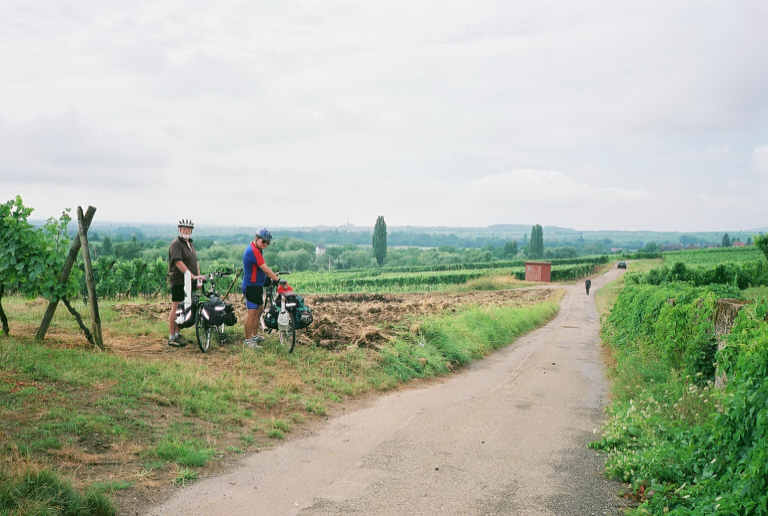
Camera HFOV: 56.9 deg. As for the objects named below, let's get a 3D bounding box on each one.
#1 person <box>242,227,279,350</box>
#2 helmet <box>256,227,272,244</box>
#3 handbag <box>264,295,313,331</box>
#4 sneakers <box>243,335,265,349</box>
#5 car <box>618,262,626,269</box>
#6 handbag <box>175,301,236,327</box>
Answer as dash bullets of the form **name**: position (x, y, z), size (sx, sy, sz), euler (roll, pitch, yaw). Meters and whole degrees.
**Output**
- **person**: position (-3.335, 0.801, 18.817), size (0.837, 3.118, 0.895), euler (0, 0, -12)
- **helmet**: position (-3.142, -0.585, 18.800), size (0.394, 0.398, 0.325), euler (13, 16, 29)
- **handbag**: position (-2.526, 1.421, 19.204), size (0.711, 0.992, 1.546), euler (-3, 7, -43)
- **sneakers**: position (-3.435, 2.286, 18.880), size (0.619, 0.276, 0.225), euler (0, 6, 2)
- **car**: position (33.800, 1.234, 100.366), size (1.316, 1.018, 2.692), euler (3, 6, 16)
- **handbag**: position (-4.511, 1.488, 18.846), size (0.673, 0.880, 1.426), euler (-2, -6, 26)
